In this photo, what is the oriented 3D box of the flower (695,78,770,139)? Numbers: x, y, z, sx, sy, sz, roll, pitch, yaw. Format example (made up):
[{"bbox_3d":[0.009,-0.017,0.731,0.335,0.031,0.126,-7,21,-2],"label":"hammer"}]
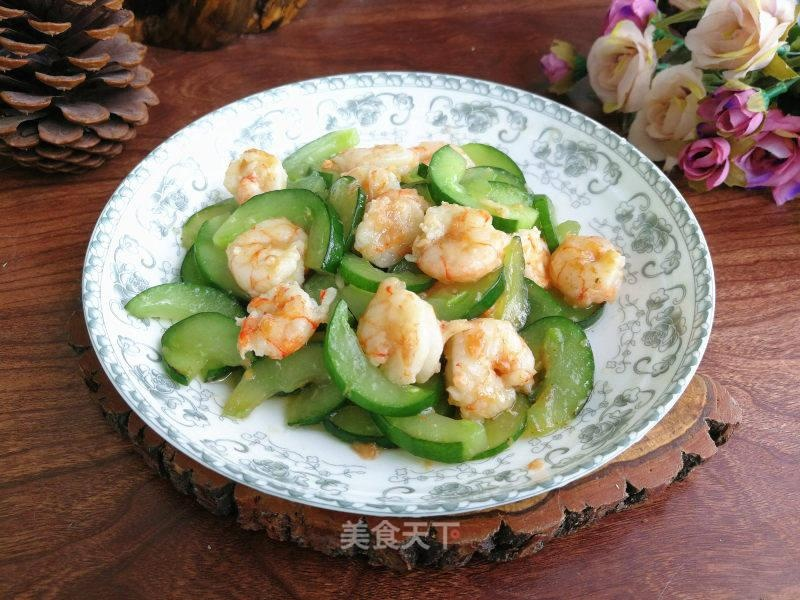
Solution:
[{"bbox_3d":[1.408,-0.796,3.406,0.322,0.242,0.128,10,72,-41],"label":"flower"}]
